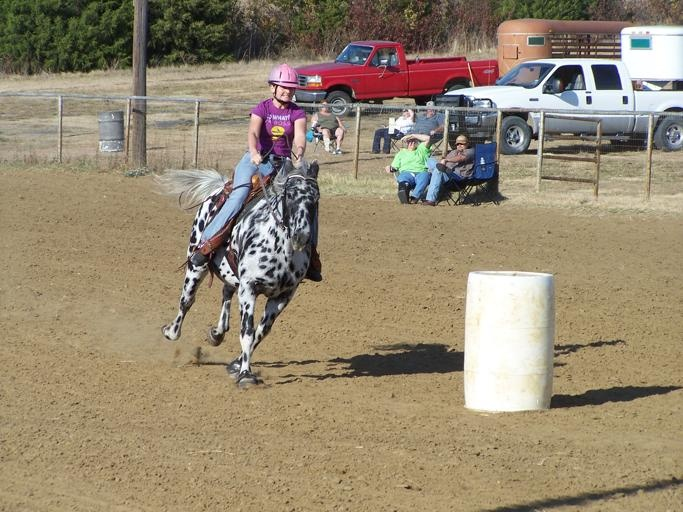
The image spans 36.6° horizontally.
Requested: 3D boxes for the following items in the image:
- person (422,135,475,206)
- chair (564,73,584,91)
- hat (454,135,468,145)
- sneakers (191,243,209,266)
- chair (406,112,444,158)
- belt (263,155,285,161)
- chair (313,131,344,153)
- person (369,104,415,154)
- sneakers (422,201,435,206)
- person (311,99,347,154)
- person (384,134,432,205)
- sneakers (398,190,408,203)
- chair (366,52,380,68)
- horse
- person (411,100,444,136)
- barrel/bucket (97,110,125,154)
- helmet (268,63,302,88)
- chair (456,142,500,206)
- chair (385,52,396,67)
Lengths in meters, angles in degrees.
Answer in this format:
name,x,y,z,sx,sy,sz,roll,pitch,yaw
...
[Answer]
name,x,y,z,sx,sy,sz,roll,pitch,yaw
person,2.279,-1.807,21.985,0.962,1.781,0.824,19,-9,-32
chair,6.307,-4.713,27.975,0.483,0.640,0.408,-1,7,-37
hat,2.555,-2.466,21.989,0.269,0.193,0.404,0,8,6
sneakers,-1.748,-0.020,12.883,0.174,0.127,0.171,-43,5,24
chair,1.958,-3.028,25.164,0.426,0.842,0.238,-18,-37,0
belt,-0.826,-1.209,12.643,0.152,0.062,0.123,-2,9,-19
chair,-0.439,-3.181,29.215,0.730,0.949,0.677,1,-5,-16
person,1.393,-3.457,28.286,1.078,1.553,1.086,4,17,-10
sneakers,1.830,-1.131,21.780,0.295,0.113,0.166,3,8,15
person,-0.387,-3.595,28.860,0.920,1.869,0.944,-1,-14,-19
person,1.424,-1.831,22.121,0.987,1.836,0.973,5,-7,-19
sneakers,1.297,-1.271,21.871,0.234,0.308,0.239,5,8,28
chair,1.056,-6.393,33.658,0.509,0.588,0.433,0,29,-3
horse,-1.162,0.147,12.661,2.197,2.689,0.701,8,10,43
person,2.087,-3.330,25.473,0.782,0.651,1.434,2,-29,-2
barrel/bucket,-6.092,-3.340,27.571,0.720,1.114,0.668,1,8,0
helmet,-0.738,-2.221,12.641,0.267,0.222,0.359,2,5,-28
chair,2.941,-1.792,22.036,0.860,1.131,0.854,-7,8,-33
chair,1.568,-6.475,33.897,0.466,0.559,0.394,0,1,-4
